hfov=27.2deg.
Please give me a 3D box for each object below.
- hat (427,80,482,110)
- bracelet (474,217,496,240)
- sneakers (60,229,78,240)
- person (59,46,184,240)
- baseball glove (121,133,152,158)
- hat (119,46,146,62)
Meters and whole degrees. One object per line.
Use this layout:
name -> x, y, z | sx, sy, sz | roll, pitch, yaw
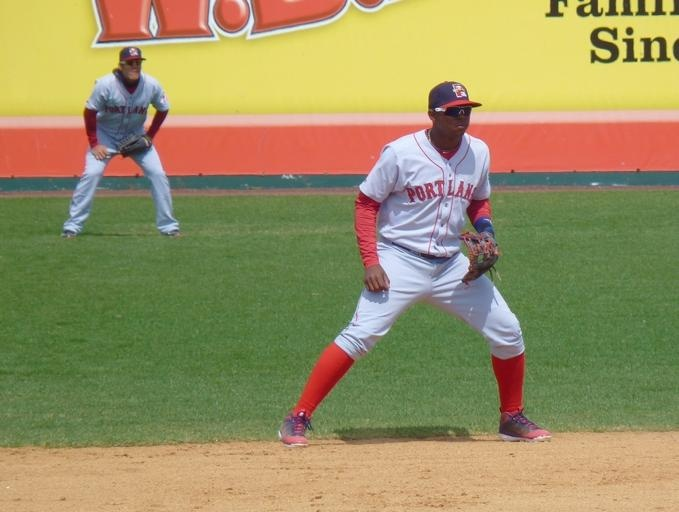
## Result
hat -> 1.086, -1.540, 13.366 | 0.413, 0.218, 0.282 | 0, 5, 31
bracelet -> 1.434, -0.260, 13.661 | 0.159, 0.085, 0.239 | 12, 18, -36
sneakers -> -3.480, -0.263, 17.962 | 0.216, 0.089, 0.099 | -2, -12, -5
person -> -2.826, -1.473, 18.039 | 1.380, 2.448, 0.660 | -3, 15, -7
baseball glove -> -2.626, -1.431, 17.963 | 0.356, 0.153, 0.259 | -21, 26, -17
hat -> -2.648, -2.538, 17.689 | 0.266, 0.198, 0.370 | -2, 10, -17
